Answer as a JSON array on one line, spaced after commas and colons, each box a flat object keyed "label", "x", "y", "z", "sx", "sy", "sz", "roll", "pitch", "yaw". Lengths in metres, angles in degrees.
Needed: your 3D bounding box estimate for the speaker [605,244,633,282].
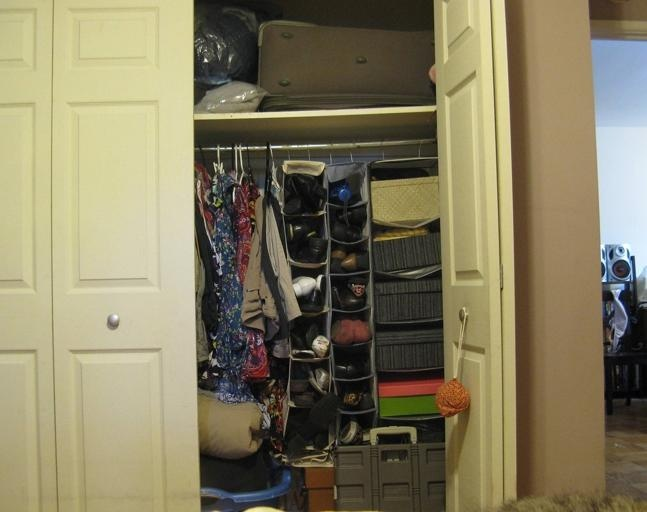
[{"label": "speaker", "x": 2.518, "y": 0.072, "z": 5.983, "sx": 0.233, "sy": 0.400, "sz": 0.197, "roll": 1, "pitch": -7, "yaw": -2}]
